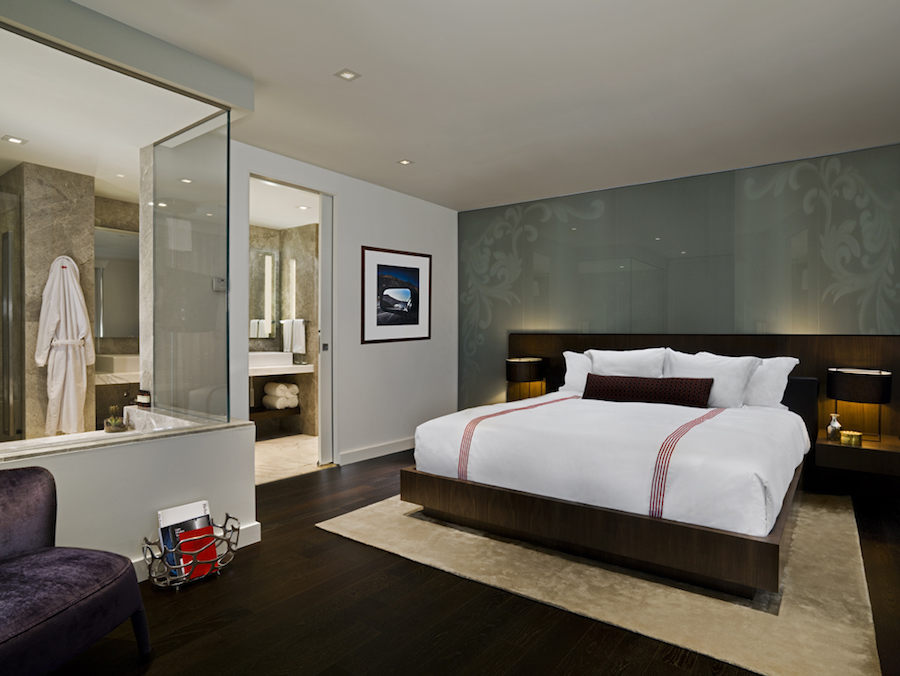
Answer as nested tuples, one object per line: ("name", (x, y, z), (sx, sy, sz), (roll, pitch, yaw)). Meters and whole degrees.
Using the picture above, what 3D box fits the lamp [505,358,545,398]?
("lamp", (0.808, 0.440, 6.353), (0.382, 0.491, 0.406), (-1, 0, 14))

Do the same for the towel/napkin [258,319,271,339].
("towel/napkin", (-2.223, -0.106, 7.076), (0.026, 0.289, 0.202), (2, -1, 38))

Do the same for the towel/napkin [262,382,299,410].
("towel/napkin", (-1.946, 0.740, 6.866), (0.278, 0.302, 0.371), (9, -11, -39))

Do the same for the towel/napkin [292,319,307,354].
("towel/napkin", (-1.800, -0.005, 7.026), (0.201, 0.405, 0.089), (3, 11, 15))

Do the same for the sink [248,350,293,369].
("sink", (-2.064, 0.240, 6.874), (0.549, 0.196, 0.149), (-9, 14, -38))

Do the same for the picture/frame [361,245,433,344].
("picture/frame", (-0.589, -0.459, 6.184), (0.034, 1.038, 1.003), (0, -1, 36))

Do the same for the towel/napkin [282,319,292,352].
("towel/napkin", (-1.958, -0.027, 7.135), (0.092, 0.370, 0.217), (-6, 12, -28))

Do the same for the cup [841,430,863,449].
("cup", (3.090, 0.779, 4.551), (0.103, 0.104, 0.130), (-2, 3, 7))
